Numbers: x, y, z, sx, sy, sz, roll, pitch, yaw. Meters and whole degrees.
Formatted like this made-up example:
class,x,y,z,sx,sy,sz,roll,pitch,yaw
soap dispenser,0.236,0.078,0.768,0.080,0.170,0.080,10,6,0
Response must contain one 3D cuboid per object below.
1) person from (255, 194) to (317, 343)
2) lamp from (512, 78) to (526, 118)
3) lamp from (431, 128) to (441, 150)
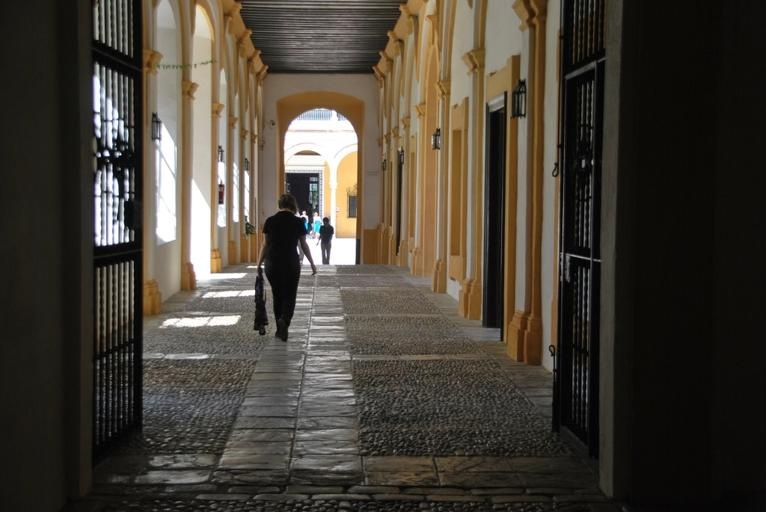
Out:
class,x,y,z,sx,sy,sz,roll,pitch,yaw
person,-1.346,0.135,8.724,0.726,2.039,1.325,0,4,-6
lamp,1.690,-1.966,7.614,0.154,0.472,0.249,1,4,0
lamp,1.182,-2.595,13.487,0.100,0.455,0.323,0,4,-38
